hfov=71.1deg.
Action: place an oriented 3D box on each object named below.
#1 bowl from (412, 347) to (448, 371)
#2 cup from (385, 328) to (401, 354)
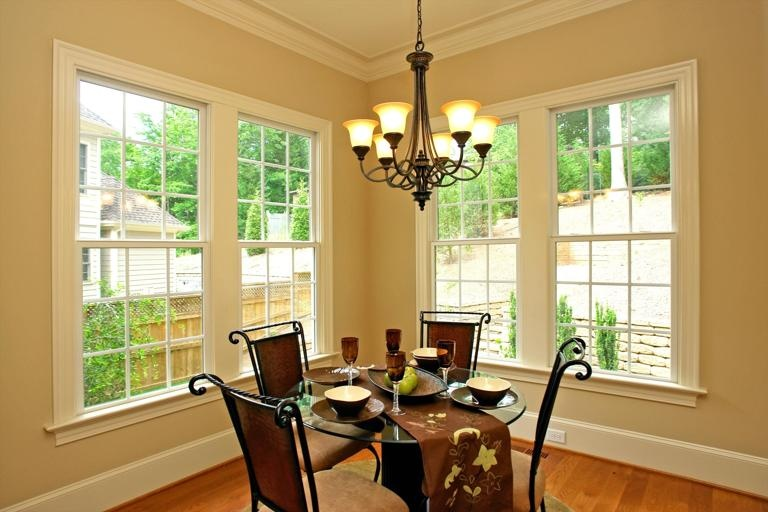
[{"bbox_3d":[0.333,0.782,4.076,0.212,0.088,0.213,1,-1,0],"label":"bowl"},{"bbox_3d":[0.072,0.595,3.729,0.095,0.159,0.233,-3,0,-3],"label":"cup"}]
